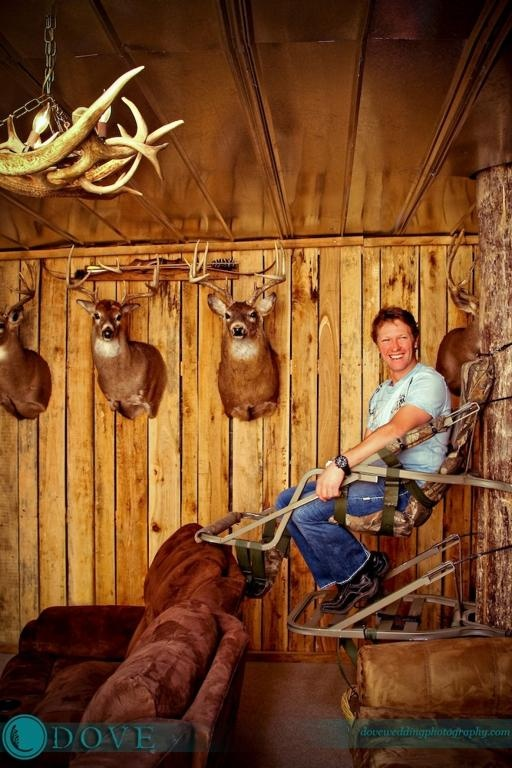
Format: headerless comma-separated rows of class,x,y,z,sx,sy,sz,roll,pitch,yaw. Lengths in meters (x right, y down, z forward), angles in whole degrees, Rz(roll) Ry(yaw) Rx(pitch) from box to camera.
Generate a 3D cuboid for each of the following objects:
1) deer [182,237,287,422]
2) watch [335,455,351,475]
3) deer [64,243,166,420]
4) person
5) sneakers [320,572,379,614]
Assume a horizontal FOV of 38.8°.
deer,-0.132,-0.331,4.361,0.573,1.000,0.521,11,2,28
watch,0.341,0.316,2.841,0.059,0.076,0.036,7,35,38
deer,-0.887,-0.285,4.491,0.489,0.904,0.602,12,3,39
person,0.476,0.290,3.174,0.638,1.273,0.741,10,2,-11
sneakers,0.389,0.863,2.982,0.162,0.169,0.234,12,3,43
